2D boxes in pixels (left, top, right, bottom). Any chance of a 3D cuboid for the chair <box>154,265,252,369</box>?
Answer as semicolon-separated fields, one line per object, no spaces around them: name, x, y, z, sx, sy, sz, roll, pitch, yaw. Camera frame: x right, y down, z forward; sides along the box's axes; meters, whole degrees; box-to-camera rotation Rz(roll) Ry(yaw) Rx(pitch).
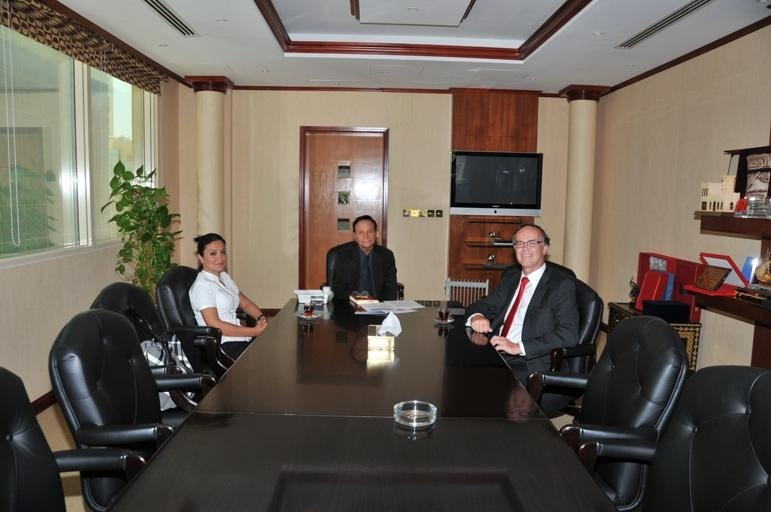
chair;-1.339;0.518;4.047;0.670;0.805;0.626;6;11;18

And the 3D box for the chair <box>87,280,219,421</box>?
chair;-1.527;0.680;3.291;0.588;0.508;0.645;10;49;-12

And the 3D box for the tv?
tv;1.400;-0.937;6.715;1.143;0.789;0.172;0;8;-7

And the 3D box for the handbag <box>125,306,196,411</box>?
handbag;-1.361;0.613;3.271;0.352;0.684;0.477;-14;16;-19

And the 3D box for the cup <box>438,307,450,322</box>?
cup;0.397;0.396;3.600;0.077;0.073;0.065;-2;-1;24

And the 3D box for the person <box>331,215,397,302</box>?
person;-0.219;0.020;5.031;0.667;0.792;0.420;-1;8;-12

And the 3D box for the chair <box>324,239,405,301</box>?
chair;-0.201;0.251;5.167;0.616;0.773;0.440;-1;7;-5

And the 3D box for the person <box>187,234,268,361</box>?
person;-1.170;0.449;4.165;0.658;1.217;0.582;0;8;2

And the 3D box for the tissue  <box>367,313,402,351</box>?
tissue ;0.008;0.481;3.253;0.235;0.240;0.137;1;-2;7
